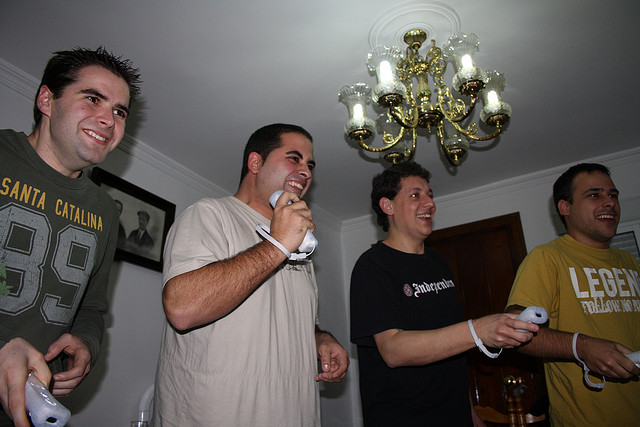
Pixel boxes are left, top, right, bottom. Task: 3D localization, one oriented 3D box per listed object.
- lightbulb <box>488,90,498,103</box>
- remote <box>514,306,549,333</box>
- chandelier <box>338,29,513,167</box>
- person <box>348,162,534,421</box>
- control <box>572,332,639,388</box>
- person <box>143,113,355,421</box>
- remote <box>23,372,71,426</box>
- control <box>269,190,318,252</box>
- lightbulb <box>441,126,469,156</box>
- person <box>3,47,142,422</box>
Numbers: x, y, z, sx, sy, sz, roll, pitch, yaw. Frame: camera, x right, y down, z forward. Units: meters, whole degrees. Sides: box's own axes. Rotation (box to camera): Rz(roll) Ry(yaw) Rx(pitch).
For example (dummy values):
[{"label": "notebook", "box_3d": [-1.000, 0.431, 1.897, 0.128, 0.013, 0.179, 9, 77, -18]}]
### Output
[{"label": "lightbulb", "box_3d": [1.181, -0.794, 2.757, 0.059, 0.096, 0.027, -9, -17, 18]}, {"label": "remote", "box_3d": [0.938, 0.468, 1.821, 0.146, 0.095, 0.076, -34, 1, 11]}, {"label": "chandelier", "box_3d": [0.822, -0.792, 3.064, 1.079, 0.860, 1.281, -16, -21, 37]}, {"label": "person", "box_3d": [0.584, 0.335, 2.222, 0.813, 1.482, 0.571, -9, -17, 20]}, {"label": "control", "box_3d": [1.466, 0.740, 2.036, 0.270, 0.281, 0.227, -18, -22, 40]}, {"label": "person", "box_3d": [-0.286, 0.193, 1.840, 0.812, 1.443, 0.506, 3, -17, -21]}, {"label": "remote", "box_3d": [-0.869, 0.592, 1.318, 0.109, 0.190, 0.069, -51, -15, 32]}, {"label": "control", "box_3d": [-0.110, 0.030, 1.810, 0.160, 0.280, 0.186, 1, 0, 12]}, {"label": "lightbulb", "box_3d": [0.979, -0.491, 2.975, 0.163, 0.242, 0.161, 6, -1, -19]}, {"label": "person", "box_3d": [-1.084, -0.043, 1.723, 0.320, 1.510, 0.493, -15, -20, 37]}]
